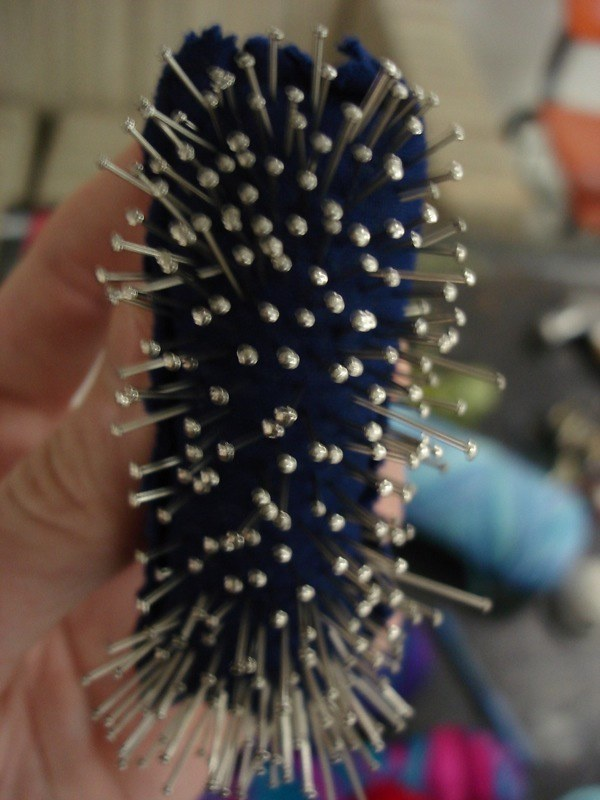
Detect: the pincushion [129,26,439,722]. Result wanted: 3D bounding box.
[{"bbox_3d":[-0.014,-0.017,0.621,0.238,0.420,0.169,0,17,-6],"label":"pincushion"}]
